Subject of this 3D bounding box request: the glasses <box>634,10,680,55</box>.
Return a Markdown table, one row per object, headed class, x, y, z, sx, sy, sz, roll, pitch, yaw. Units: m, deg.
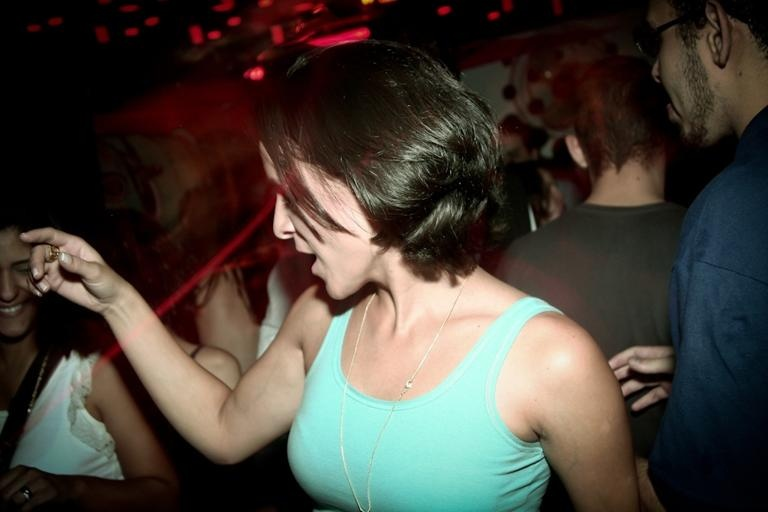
| class | x | y | z | sx | sy | sz | roll | pitch | yaw |
| --- | --- | --- | --- | --- | --- | --- | --- | --- | --- |
| glasses | 1.226 | -1.000 | 2.816 | 0.137 | 0.049 | 0.135 | -28 | 2 | 7 |
